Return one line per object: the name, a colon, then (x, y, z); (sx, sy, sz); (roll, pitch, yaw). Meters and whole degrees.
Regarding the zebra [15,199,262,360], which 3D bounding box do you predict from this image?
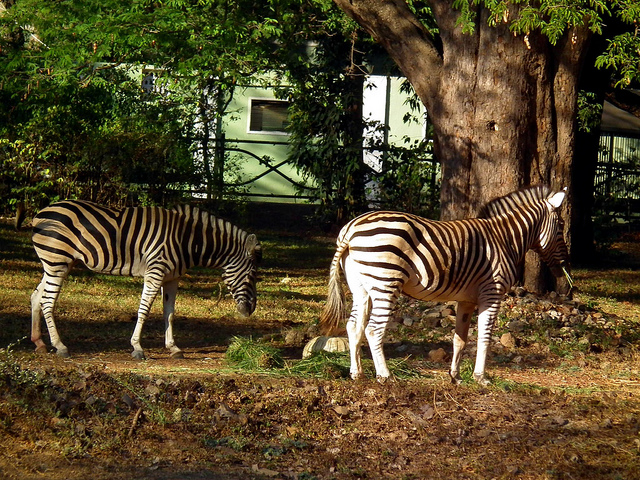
zebra: (-2.611, 0.526, 14.174); (3.265, 2.105, 0.973); (-2, 14, -16)
